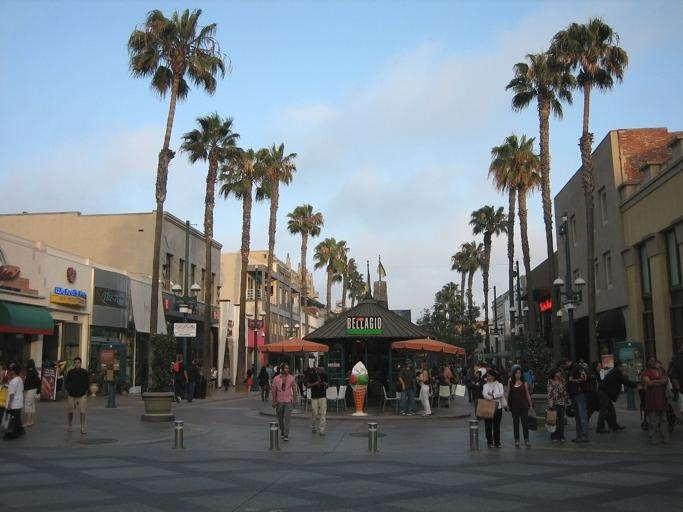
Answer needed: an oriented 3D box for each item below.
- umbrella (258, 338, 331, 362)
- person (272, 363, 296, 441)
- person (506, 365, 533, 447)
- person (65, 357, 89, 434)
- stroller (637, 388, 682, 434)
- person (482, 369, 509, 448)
[{"bbox_3d":[-2.152,4.369,30.785,2.344,1.240,2.494,7,-7,-35],"label":"umbrella"},{"bbox_3d":[-1.727,4.390,19.586,0.665,2.419,1.443,-1,-16,-4],"label":"person"},{"bbox_3d":[4.984,4.135,17.972,0.691,2.334,0.554,-2,-3,8],"label":"person"},{"bbox_3d":[-8.197,4.245,19.895,0.567,2.273,0.433,1,5,-14],"label":"person"},{"bbox_3d":[9.497,4.627,19.115,0.521,2.041,0.755,2,-8,-14],"label":"stroller"},{"bbox_3d":[4.204,4.322,18.255,0.862,2.055,0.709,4,-7,-37],"label":"person"}]
